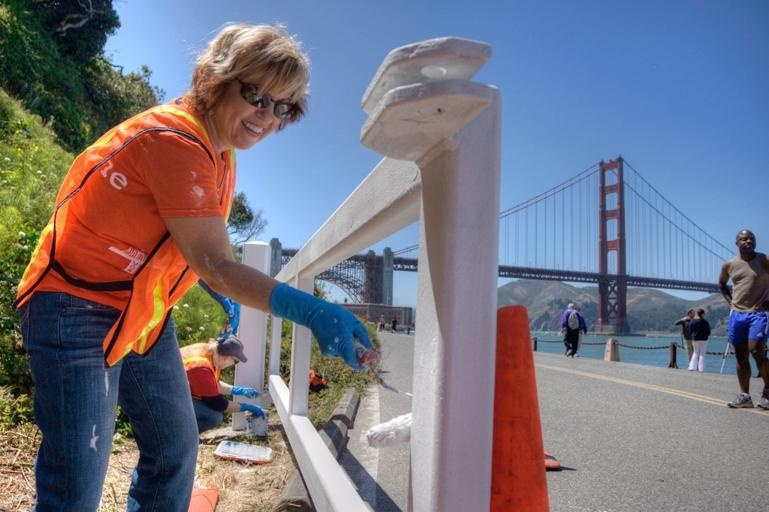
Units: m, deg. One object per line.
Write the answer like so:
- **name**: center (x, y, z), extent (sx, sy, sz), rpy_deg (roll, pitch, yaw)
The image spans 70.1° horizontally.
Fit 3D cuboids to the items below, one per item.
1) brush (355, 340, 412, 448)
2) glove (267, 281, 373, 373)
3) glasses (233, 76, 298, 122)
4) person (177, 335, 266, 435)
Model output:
- **brush**: center (0.010, 0.549, 2.216), extent (0.237, 0.444, 0.271), rpy_deg (-1, 16, 1)
- **glove**: center (-0.248, 0.257, 2.046), extent (0.398, 0.309, 0.077), rpy_deg (3, -8, -3)
- **glasses**: center (-0.529, -0.684, 2.404), extent (0.164, 0.053, 0.157), rpy_deg (17, 20, -50)
- **person**: center (-1.421, 1.160, 4.486), extent (0.819, 0.903, 0.487), rpy_deg (9, 3, -13)
